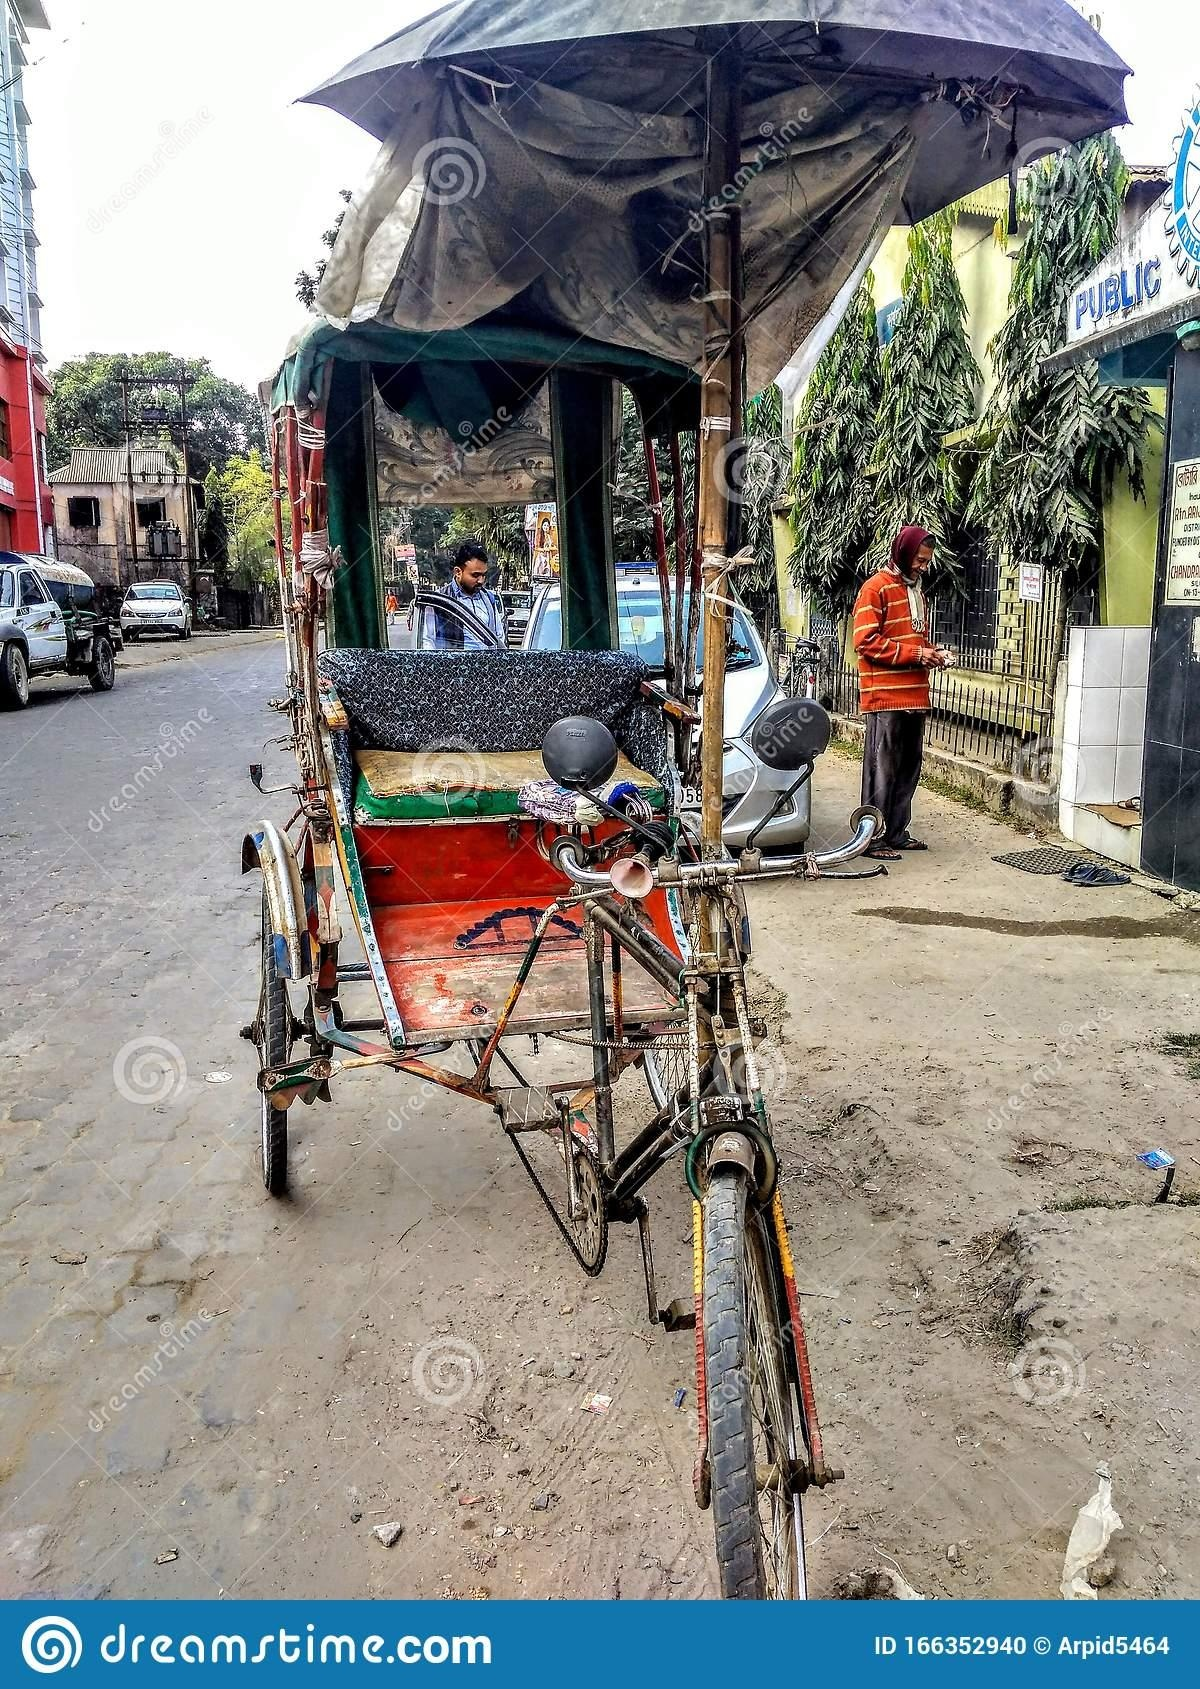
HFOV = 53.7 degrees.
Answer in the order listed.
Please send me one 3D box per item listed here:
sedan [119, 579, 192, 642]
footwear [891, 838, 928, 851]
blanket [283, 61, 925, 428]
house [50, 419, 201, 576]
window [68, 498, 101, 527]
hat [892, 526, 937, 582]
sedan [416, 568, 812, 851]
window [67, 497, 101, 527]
[{"bbox_3d":[-12.599,-6.566,33.444,1.577,1.603,2.341,-4,11,-11],"label":"sedan"},{"bbox_3d":[2.019,0.002,7.646,0.100,0.088,0.218,0,-7,2],"label":"footwear"},{"bbox_3d":[0.054,-1.652,3.049,0.921,0.374,1.145,-8,-4,-15],"label":"blanket"},{"bbox_3d":[-19.967,-13.594,49.988,5.752,5.935,4.732,-4,13,-8],"label":"house"},{"bbox_3d":[-20.869,-13.433,47.782,1.131,1.130,0.631,0,1,-13],"label":"window"},{"bbox_3d":[1.977,-1.791,7.284,0.262,0.384,0.352,-7,11,-15],"label":"hat"},{"bbox_3d":[0.503,-0.827,6.973,1.404,1.354,2.558,-2,7,-12],"label":"sedan"},{"bbox_3d":[-20.895,-13.446,47.776,1.163,1.162,0.649,0,1,-13],"label":"window"}]
